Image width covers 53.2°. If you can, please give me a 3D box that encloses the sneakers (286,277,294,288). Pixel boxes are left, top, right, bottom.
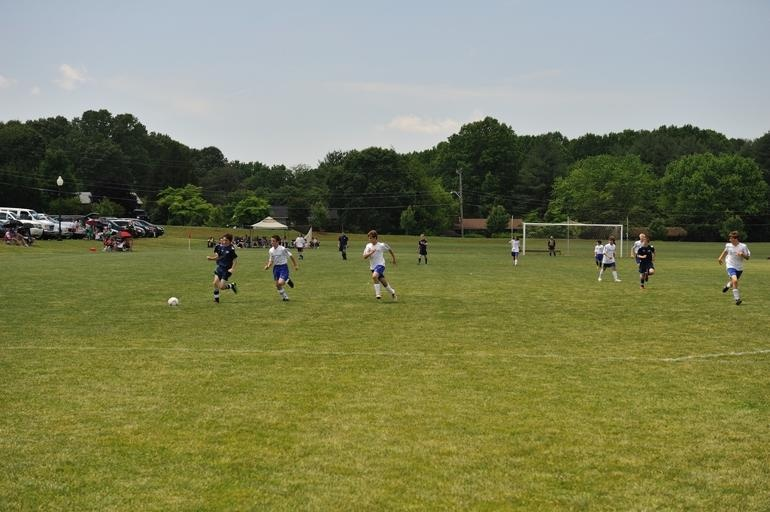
[{"bbox_3d":[-2.941,0.869,24.720,0.214,0.232,0.695,-35,-7,-9],"label":"sneakers"}]

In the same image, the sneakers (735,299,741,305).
[{"bbox_3d":[10.627,1.391,23.130,0.141,0.146,0.369,0,1,19],"label":"sneakers"}]

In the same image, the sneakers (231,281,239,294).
[{"bbox_3d":[-4.931,1.075,25.358,0.127,0.338,0.150,-29,36,-22],"label":"sneakers"}]

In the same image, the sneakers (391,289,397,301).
[{"bbox_3d":[0.298,1.243,23.770,0.150,0.375,0.159,-9,46,3],"label":"sneakers"}]
